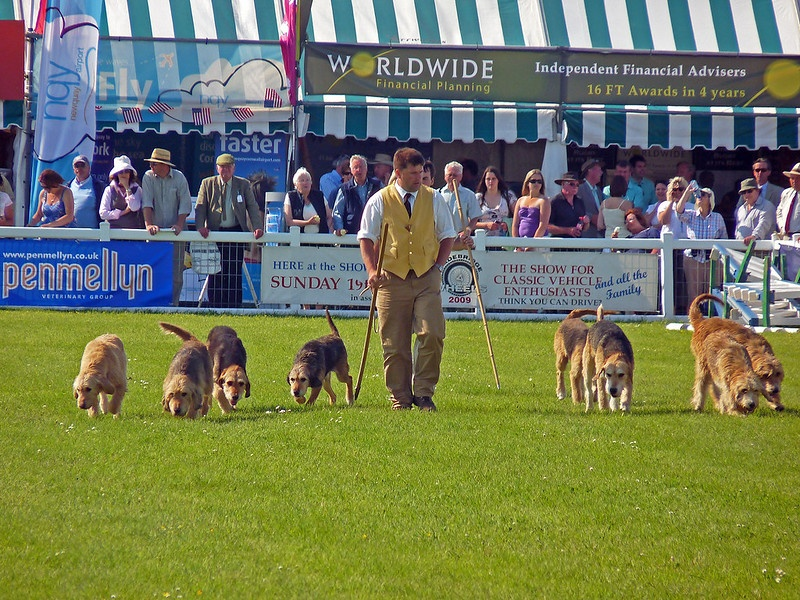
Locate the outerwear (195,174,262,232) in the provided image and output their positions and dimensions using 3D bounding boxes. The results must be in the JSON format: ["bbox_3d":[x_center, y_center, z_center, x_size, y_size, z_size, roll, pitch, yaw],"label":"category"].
[{"bbox_3d":[-3.003,-1.704,27.762,1.261,1.607,0.802,-2,9,-6],"label":"outerwear"}]

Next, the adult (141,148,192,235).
[{"bbox_3d":[-4.015,-1.852,27.311,0.803,1.411,0.502,0,1,-12],"label":"adult"}]

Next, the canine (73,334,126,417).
[{"bbox_3d":[-4.052,1.062,21.640,0.402,0.953,1.434,-1,12,-3],"label":"canine"}]

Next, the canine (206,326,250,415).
[{"bbox_3d":[-2.446,0.966,22.487,0.345,0.898,1.656,-2,22,-7],"label":"canine"}]

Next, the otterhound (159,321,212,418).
[{"bbox_3d":[-2.931,1.096,21.941,0.494,1.009,0.908,1,2,17],"label":"otterhound"}]

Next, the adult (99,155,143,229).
[{"bbox_3d":[-4.849,-1.867,27.716,0.759,1.250,0.814,1,2,-5],"label":"adult"}]

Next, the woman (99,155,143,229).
[{"bbox_3d":[-4.851,-1.867,27.714,0.762,1.250,0.805,1,2,-3],"label":"woman"}]

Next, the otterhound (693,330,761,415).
[{"bbox_3d":[4.512,1.026,22.176,0.414,1.073,1.119,-1,2,-38],"label":"otterhound"}]

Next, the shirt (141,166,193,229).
[{"bbox_3d":[-4.047,-1.888,27.735,1.024,1.725,0.820,0,8,-11],"label":"shirt"}]

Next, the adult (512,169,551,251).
[{"bbox_3d":[2.287,-1.678,27.855,0.651,1.143,0.621,1,2,6],"label":"adult"}]

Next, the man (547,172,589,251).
[{"bbox_3d":[2.984,-1.687,28.355,0.742,1.121,0.761,1,2,1],"label":"man"}]

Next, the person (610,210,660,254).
[{"bbox_3d":[4.092,-1.181,28.010,0.227,0.313,0.601,4,26,-44],"label":"person"}]

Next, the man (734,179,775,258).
[{"bbox_3d":[6.179,-1.554,27.761,0.655,1.144,1.156,1,2,13],"label":"man"}]

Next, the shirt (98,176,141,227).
[{"bbox_3d":[-4.869,-1.675,27.983,0.831,1.405,0.742,0,-9,-11],"label":"shirt"}]

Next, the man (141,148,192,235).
[{"bbox_3d":[-4.015,-1.852,27.315,0.803,1.411,0.497,0,1,-13],"label":"man"}]

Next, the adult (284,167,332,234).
[{"bbox_3d":[-1.627,-1.747,28.062,0.829,1.121,0.641,1,2,-6],"label":"adult"}]

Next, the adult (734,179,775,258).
[{"bbox_3d":[6.182,-1.555,27.782,0.654,1.144,1.201,1,2,13],"label":"adult"}]

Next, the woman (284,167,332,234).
[{"bbox_3d":[-1.596,-1.437,28.098,0.706,1.817,0.844,-8,-8,-7],"label":"woman"}]

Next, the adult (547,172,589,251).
[{"bbox_3d":[2.984,-1.218,28.412,0.738,2.190,0.625,-1,-1,5],"label":"adult"}]

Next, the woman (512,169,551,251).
[{"bbox_3d":[2.286,-1.677,27.847,0.654,1.143,0.605,1,2,5],"label":"woman"}]

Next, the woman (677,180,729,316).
[{"bbox_3d":[5.214,-1.040,27.797,0.813,2.047,0.923,2,2,37],"label":"woman"}]

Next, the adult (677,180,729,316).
[{"bbox_3d":[5.214,-1.040,27.797,0.813,2.047,0.923,2,2,37],"label":"adult"}]

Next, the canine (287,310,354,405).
[{"bbox_3d":[-1.158,1.003,22.689,1.001,0.948,0.789,0,2,-21],"label":"canine"}]
